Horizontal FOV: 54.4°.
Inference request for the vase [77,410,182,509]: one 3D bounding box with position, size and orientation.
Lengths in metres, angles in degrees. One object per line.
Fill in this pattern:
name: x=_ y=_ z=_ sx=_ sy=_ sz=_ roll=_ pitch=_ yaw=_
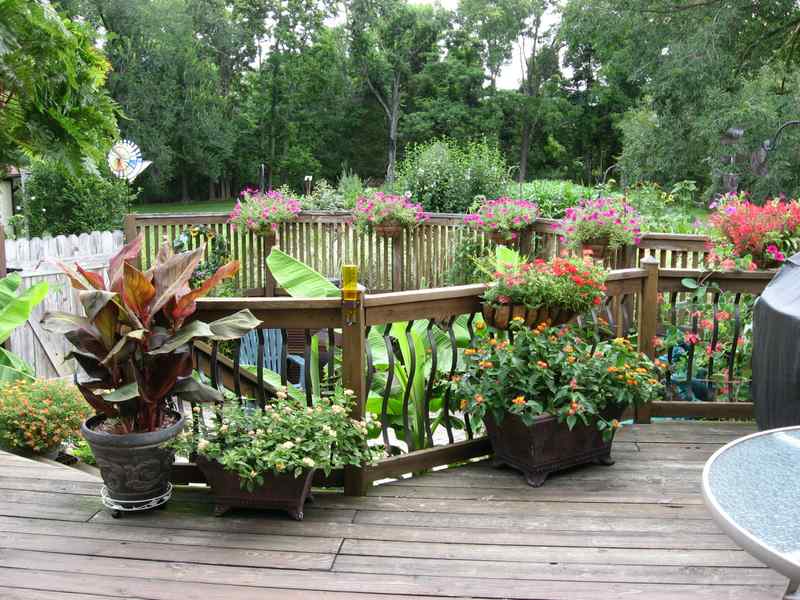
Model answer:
vase: x=-1.472 y=0.906 z=4.374 sx=0.503 sy=0.438 sz=0.514 roll=5 pitch=11 yaw=34
